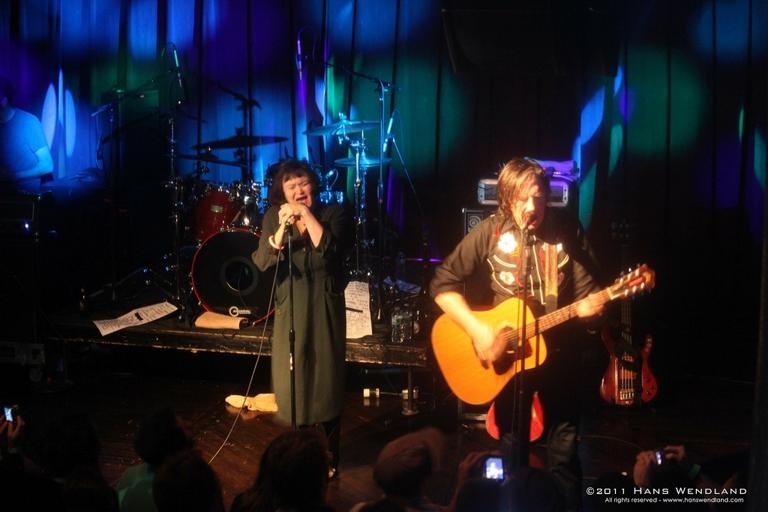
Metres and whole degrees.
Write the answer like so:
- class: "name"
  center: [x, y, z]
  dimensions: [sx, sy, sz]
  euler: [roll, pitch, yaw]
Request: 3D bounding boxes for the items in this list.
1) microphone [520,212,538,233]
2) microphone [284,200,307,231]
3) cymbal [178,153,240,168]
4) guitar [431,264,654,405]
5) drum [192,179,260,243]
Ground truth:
- class: "microphone"
  center: [1.046, -0.240, 4.649]
  dimensions: [0.118, 0.121, 0.088]
  euler: [-3, 4, 44]
- class: "microphone"
  center: [-0.712, -0.319, 5.207]
  dimensions: [0.074, 0.210, 0.144]
  euler: [-14, 19, -23]
- class: "cymbal"
  center: [-2.196, -1.230, 8.310]
  dimensions: [0.711, 0.138, 0.994]
  euler: [1, -1, -13]
- class: "guitar"
  center: [1.078, 0.572, 4.716]
  dimensions: [1.819, 0.804, 0.256]
  euler: [-26, -7, 22]
- class: "drum"
  center: [-1.764, -0.447, 7.305]
  dimensions: [0.697, 0.555, 0.673]
  euler: [2, -10, 0]
